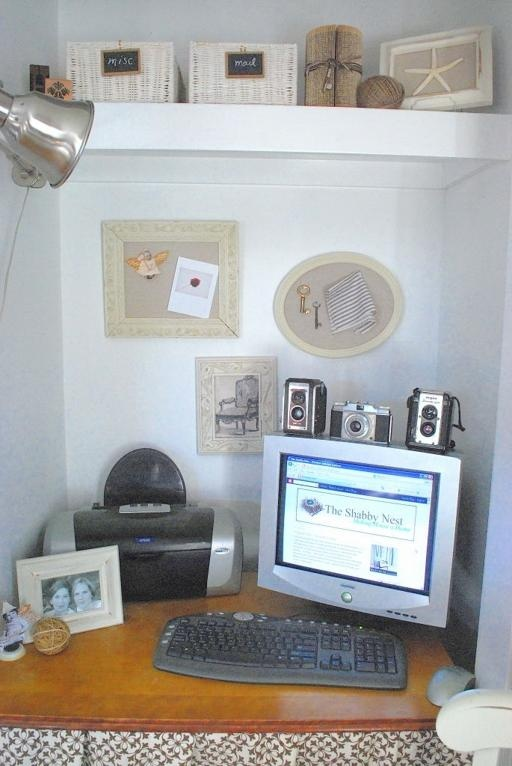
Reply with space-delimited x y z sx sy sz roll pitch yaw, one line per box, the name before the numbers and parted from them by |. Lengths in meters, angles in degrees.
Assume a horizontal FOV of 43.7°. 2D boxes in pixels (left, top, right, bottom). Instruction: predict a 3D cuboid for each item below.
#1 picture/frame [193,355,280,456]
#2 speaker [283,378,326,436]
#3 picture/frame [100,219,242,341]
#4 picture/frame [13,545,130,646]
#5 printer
picture/frame | -0.051 0.048 1.645 0.257 0.308 0.013 1 3 -4
speaker | 0.105 0.051 1.401 0.091 0.119 0.072 3 2 27
picture/frame | -0.219 -0.275 1.616 0.298 0.249 0.014 0 2 -1
picture/frame | -0.374 0.435 1.288 0.163 0.141 0.012 -8 -14 -22
printer | -0.252 0.336 1.469 0.430 0.271 0.254 2 7 -8
